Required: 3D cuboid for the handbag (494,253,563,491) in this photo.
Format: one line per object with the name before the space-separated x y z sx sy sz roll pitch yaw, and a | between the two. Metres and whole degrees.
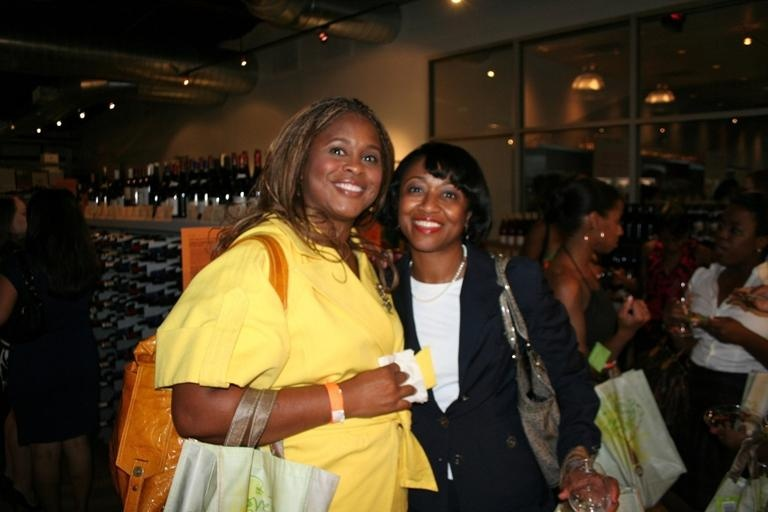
handbag | 0.613 0.491 2.460 0.143 0.959 0.391 -5 7 -31
